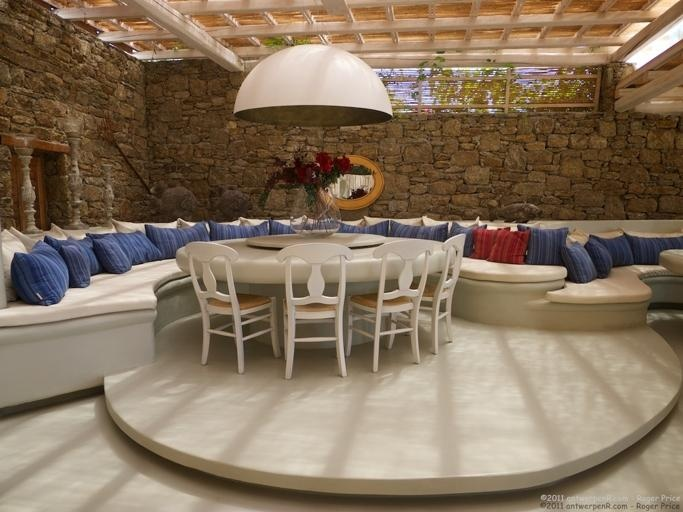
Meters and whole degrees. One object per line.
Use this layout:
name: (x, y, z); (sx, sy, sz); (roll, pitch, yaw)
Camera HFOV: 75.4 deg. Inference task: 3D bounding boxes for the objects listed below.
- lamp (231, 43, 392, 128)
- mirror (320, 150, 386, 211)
lamp: (-0.271, -1.439, 3.900); (1.318, 0.515, 1.546); (-2, 7, -10)
mirror: (0.181, -1.316, 7.722); (1.252, 1.003, 0.047); (-8, 20, -27)
